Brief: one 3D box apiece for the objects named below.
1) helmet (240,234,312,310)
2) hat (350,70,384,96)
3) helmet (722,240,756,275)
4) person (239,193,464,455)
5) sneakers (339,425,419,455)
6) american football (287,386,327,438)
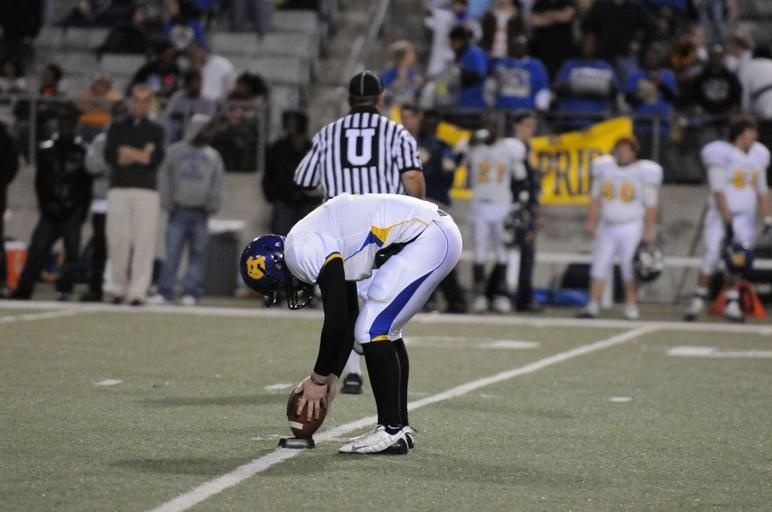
[{"bbox_3d":[-0.692,0.123,8.720,0.445,0.493,0.382,0,9,-7],"label":"helmet"},{"bbox_3d":[-0.141,-1.177,9.513,0.247,0.168,0.144,3,9,12],"label":"hat"},{"bbox_3d":[2.519,0.024,9.937,0.249,0.175,0.115,12,-23,26],"label":"helmet"},{"bbox_3d":[-0.201,0.411,8.789,1.320,1.609,0.498,1,9,0],"label":"person"},{"bbox_3d":[-0.026,1.165,8.827,0.542,0.220,0.177,2,-2,-7],"label":"sneakers"},{"bbox_3d":[-0.555,0.988,8.745,0.234,0.225,0.311,17,-11,27],"label":"american football"}]
